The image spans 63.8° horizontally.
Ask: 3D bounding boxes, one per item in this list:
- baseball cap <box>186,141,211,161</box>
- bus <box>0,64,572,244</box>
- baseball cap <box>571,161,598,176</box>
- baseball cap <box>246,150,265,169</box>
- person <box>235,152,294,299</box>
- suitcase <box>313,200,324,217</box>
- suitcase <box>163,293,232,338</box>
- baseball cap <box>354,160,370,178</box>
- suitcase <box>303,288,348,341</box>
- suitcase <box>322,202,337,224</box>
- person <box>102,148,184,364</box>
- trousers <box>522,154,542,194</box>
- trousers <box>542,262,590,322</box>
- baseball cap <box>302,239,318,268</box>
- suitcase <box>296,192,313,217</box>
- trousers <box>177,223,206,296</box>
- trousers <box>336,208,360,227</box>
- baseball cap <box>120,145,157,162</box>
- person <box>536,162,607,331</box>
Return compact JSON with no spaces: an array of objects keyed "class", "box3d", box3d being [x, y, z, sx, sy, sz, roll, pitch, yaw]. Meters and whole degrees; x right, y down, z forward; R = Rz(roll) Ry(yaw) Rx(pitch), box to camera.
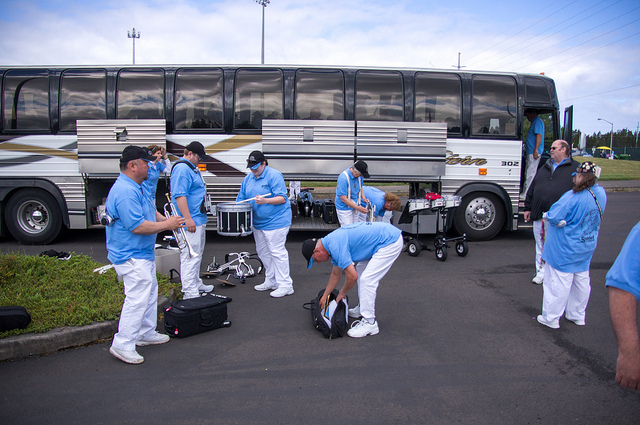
[{"class":"baseball cap","box3d":[-2.325,-1.185,9.558,0.320,0.284,0.245,-7,10,-35]},{"class":"bus","box3d":[-3.403,-2.263,15.674,20.440,5.902,5.296,-1,6,-2]},{"class":"baseball cap","box3d":[4.423,-0.744,8.620,0.302,0.236,0.477,2,9,26]},{"class":"baseball cap","box3d":[-1.246,-1.045,9.962,0.247,0.206,0.370,8,31,24]},{"class":"person","box3d":[-1.065,0.210,10.183,1.048,2.820,0.599,4,10,33]},{"class":"suitcase","box3d":[-0.043,-0.155,14.824,0.347,0.432,0.636,0,3,3]},{"class":"suitcase","box3d":[-2.109,1.664,8.678,0.835,0.409,0.610,-7,7,-39]},{"class":"baseball cap","box3d":[0.889,-0.941,11.113,0.359,0.198,0.256,44,40,11]},{"class":"suitcase","box3d":[0.132,1.683,8.481,0.329,0.768,0.535,-2,31,-29]},{"class":"suitcase","box3d":[0.238,0.016,14.387,0.458,0.582,0.830,-1,8,-4]},{"class":"person","box3d":[-2.850,0.648,7.881,0.921,3.267,0.577,-5,9,-24]},{"class":"trousers","box3d":[5.695,-1.000,14.020,0.354,1.291,0.309,24,-13,-28]},{"class":"trousers","box3d":[4.181,1.361,8.809,0.730,1.034,0.334,-3,8,-11]},{"class":"baseball cap","box3d":[-0.181,0.674,8.477,0.240,0.501,0.441,-2,8,-3]},{"class":"suitcase","box3d":[-0.448,-0.252,14.845,0.413,0.258,0.683,1,36,-1]},{"class":"trousers","box3d":[-2.412,0.879,9.616,0.312,1.285,0.624,1,8,14]},{"class":"trousers","box3d":[0.612,0.074,11.737,0.338,0.422,0.582,2,9,26]},{"class":"baseball cap","box3d":[-2.837,-0.916,7.908,0.387,0.191,0.242,0,7,-28]},{"class":"person","box3d":[4.217,0.562,8.725,0.968,2.818,0.385,-3,8,-8]}]
